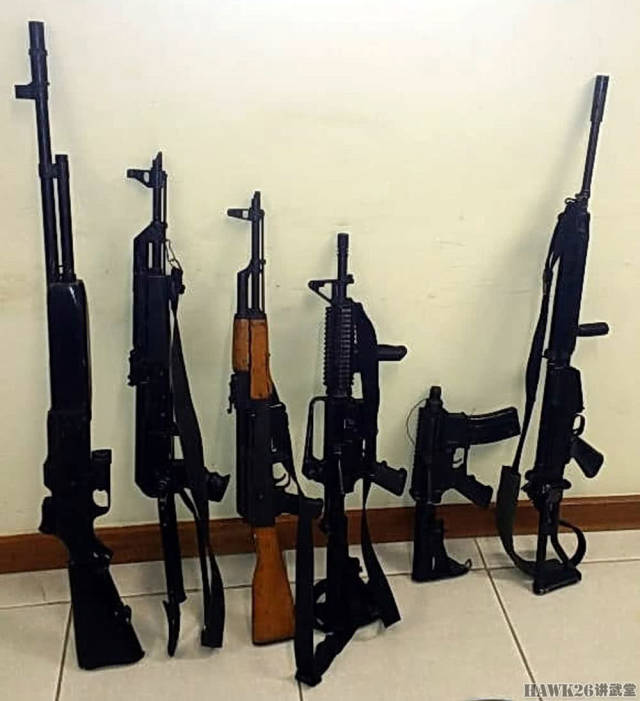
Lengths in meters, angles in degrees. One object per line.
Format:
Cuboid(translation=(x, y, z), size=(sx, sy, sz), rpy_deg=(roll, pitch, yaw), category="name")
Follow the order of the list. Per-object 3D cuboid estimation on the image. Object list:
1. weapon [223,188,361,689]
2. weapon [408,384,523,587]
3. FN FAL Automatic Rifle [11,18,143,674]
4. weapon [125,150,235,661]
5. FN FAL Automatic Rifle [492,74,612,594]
Cuboid(translation=(-0.092, 0.246, 1.991), size=(0.318, 1.312, 0.235), rpy_deg=(0, -3, -5), category="weapon")
Cuboid(translation=(0.396, 0.382, 2.078), size=(0.288, 0.097, 0.546), rpy_deg=(-6, 49, 14), category="weapon")
Cuboid(translation=(-0.581, 0.128, 1.941), size=(0.364, 1.768, 0.177), rpy_deg=(-1, 3, -5), category="FN FAL Automatic Rifle")
Cuboid(translation=(-0.304, 0.124, 1.904), size=(0.215, 1.270, 0.251), rpy_deg=(-4, 6, -41), category="weapon")
Cuboid(translation=(0.603, -0.049, 2.138), size=(0.216, 1.320, 0.306), rpy_deg=(10, 11, 35), category="FN FAL Automatic Rifle")
